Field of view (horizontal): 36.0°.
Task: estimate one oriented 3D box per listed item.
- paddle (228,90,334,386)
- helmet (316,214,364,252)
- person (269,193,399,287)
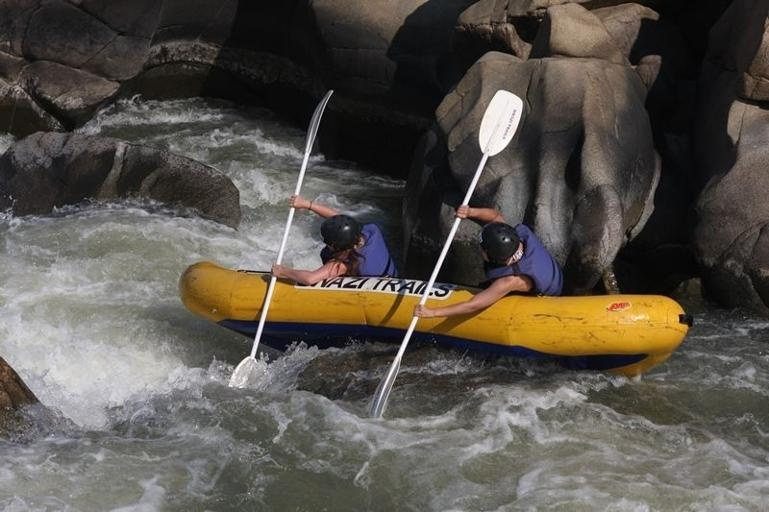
[{"bbox_3d":[-1.367,-0.178,15.758,0.251,4.486,0.401,22,-10,-7],"label":"paddle"},{"bbox_3d":[-0.519,-0.266,13.657,0.469,0.341,0.359,11,3,-10],"label":"helmet"},{"bbox_3d":[-0.501,0.115,14.472,1.577,1.881,1.014,4,57,4],"label":"person"}]
